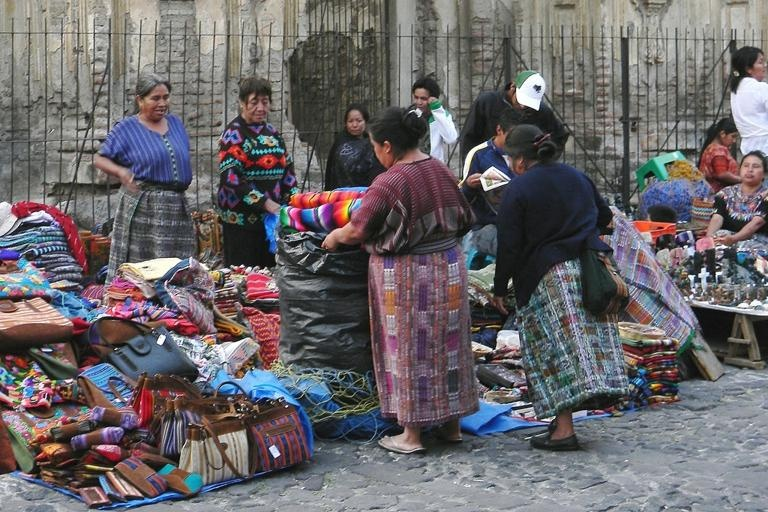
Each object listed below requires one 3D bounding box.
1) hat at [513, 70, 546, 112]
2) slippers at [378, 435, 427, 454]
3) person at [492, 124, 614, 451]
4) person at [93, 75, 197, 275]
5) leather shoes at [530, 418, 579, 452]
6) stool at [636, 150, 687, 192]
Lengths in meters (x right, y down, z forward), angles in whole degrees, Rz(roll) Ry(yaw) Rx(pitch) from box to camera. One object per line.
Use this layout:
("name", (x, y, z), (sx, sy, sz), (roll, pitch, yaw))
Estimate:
("hat", (1.473, -1.731, 10.614), (0.293, 0.419, 0.270), (-3, 3, 8))
("slippers", (0.145, 1.528, 8.353), (0.297, 0.081, 0.145), (8, 4, 29))
("person", (1.364, 0.108, 8.307), (0.992, 2.360, 0.327), (-3, 3, 9))
("person", (-2.260, -0.791, 9.976), (0.867, 1.975, 0.336), (-4, 3, -15))
("leather shoes", (1.364, 1.472, 8.432), (0.472, 0.194, 0.184), (1, -3, 17))
("stool", (3.527, -1.128, 13.424), (0.428, 0.464, 0.854), (-4, 3, -10))
